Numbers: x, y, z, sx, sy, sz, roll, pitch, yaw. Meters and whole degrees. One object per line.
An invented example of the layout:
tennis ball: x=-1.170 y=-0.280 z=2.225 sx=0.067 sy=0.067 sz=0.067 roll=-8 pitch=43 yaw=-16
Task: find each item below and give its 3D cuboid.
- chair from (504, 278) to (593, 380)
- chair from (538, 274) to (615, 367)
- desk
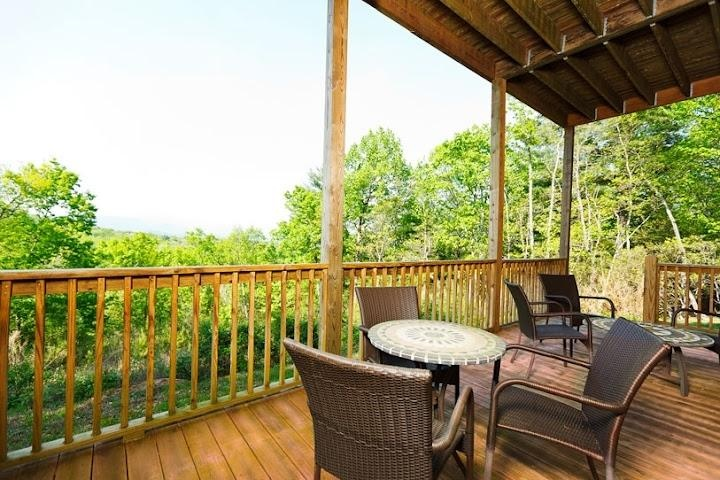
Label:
chair: x=3.866 y=1.824 z=10.669 sx=1.891 sy=2.530 sz=1.840 roll=-1 pitch=0 yaw=3
chair: x=4.875 y=1.620 z=11.518 sx=1.574 sy=2.391 sz=1.679 roll=0 pitch=-4 yaw=-27
desk: x=5.863 y=1.989 z=9.828 sx=1.764 sy=0.906 sz=1.813 roll=0 pitch=1 yaw=41
